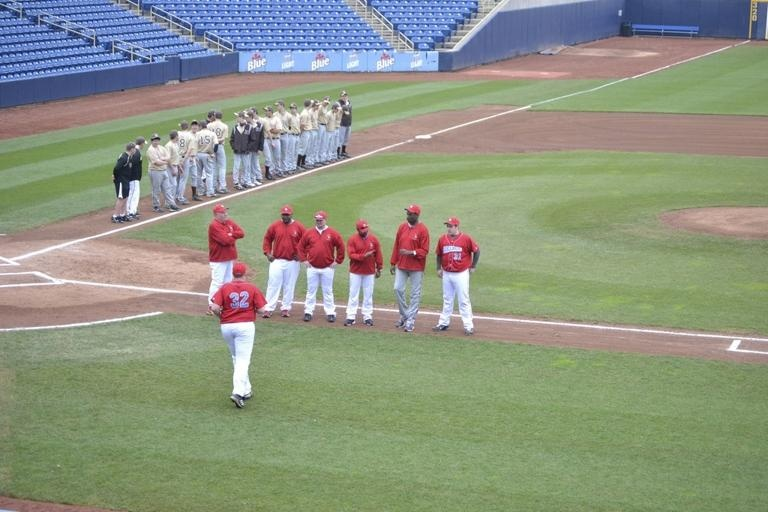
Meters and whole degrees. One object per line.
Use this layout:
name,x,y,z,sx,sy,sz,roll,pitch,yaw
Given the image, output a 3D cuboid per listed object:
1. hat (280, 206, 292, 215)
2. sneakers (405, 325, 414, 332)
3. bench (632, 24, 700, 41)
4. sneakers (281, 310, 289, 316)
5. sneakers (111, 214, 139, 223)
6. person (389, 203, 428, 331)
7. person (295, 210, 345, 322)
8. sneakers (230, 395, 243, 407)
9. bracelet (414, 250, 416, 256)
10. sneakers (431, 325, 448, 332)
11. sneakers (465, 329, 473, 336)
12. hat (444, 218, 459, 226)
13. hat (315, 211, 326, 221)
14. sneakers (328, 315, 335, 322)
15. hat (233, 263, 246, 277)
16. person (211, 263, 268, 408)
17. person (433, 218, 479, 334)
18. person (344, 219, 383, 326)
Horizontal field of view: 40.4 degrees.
hat,-2.154,-0.981,22.689,0.271,0.155,0.335,1,13,5
sneakers,0.497,1.540,22.155,0.192,0.152,0.162,-2,9,-3
bench,19.708,-16.126,74.117,4.765,1.173,1.177,6,12,41
sneakers,-2.193,1.254,22.835,0.180,0.122,0.341,0,-3,-6
sneakers,-7.067,-1.006,28.441,0.704,0.231,0.202,0,8,3
person,0.512,0.272,22.215,0.778,2.635,0.704,0,11,10
person,-1.372,0.244,22.571,0.941,2.387,0.508,-2,11,-2
sneakers,-2.741,2.706,19.347,0.142,0.150,0.351,17,-18,34
bracelet,0.609,-0.065,22.052,0.081,0.098,0.025,-2,11,0
sneakers,1.163,1.547,22.146,0.344,0.124,0.115,1,2,-21
sneakers,1.746,1.602,21.870,0.190,0.134,0.373,0,-1,6
hat,1.478,-0.700,21.943,0.357,0.136,0.231,0,7,-22
hat,-1.417,-0.862,22.528,0.256,0.153,0.344,4,10,8
sneakers,-1.169,1.361,22.567,0.147,0.131,0.341,0,-5,-1
hat,-2.722,0.222,19.522,0.235,0.139,0.276,3,38,-6
person,-2.784,1.473,19.466,0.600,2.671,0.928,4,12,32
person,1.489,0.415,22.053,0.897,2.436,0.727,1,11,17
person,-0.501,0.366,22.426,0.831,2.265,0.523,-3,11,-2
